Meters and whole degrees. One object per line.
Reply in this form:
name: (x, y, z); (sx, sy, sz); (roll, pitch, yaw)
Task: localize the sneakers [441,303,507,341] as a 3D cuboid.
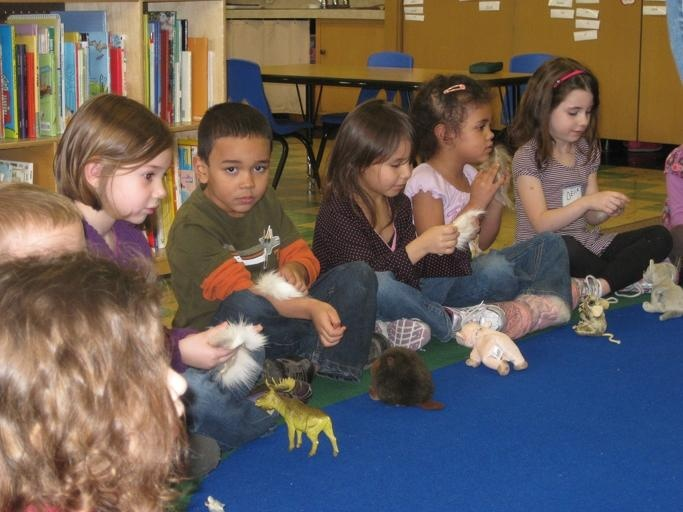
sneakers: (0.443, 0.220, 2.284); (0.097, 0.088, 0.229); (0, -2, -37)

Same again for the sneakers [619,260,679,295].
sneakers: (1.157, 0.077, 2.569); (0.128, 0.047, 0.099); (-28, 32, 50)

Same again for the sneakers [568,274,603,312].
sneakers: (0.908, 0.137, 2.547); (0.125, 0.050, 0.112); (8, 20, 8)

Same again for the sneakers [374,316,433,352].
sneakers: (0.209, 0.243, 2.219); (0.216, 0.087, 0.104); (7, 16, 34)

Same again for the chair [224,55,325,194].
chair: (-0.321, -0.849, 4.753); (0.541, 0.742, 0.559); (-4, 2, 30)
